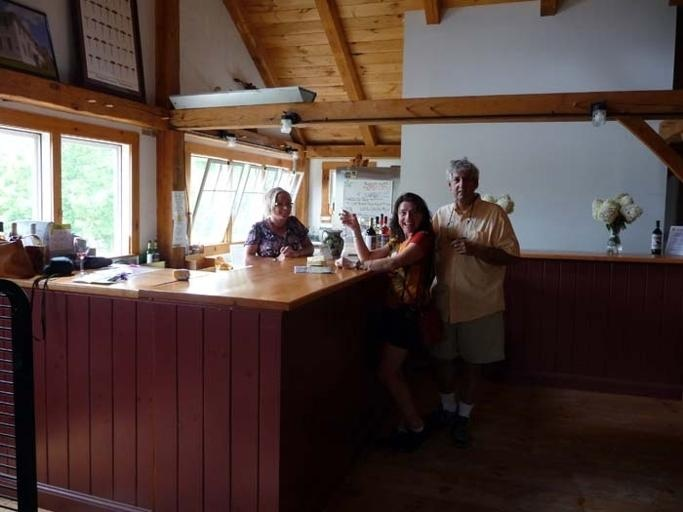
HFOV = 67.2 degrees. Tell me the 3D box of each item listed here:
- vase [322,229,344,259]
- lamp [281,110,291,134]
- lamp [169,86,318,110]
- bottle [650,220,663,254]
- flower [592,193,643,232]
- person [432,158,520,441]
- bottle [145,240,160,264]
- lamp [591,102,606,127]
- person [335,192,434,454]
[{"bbox_3d":[-0.089,-0.106,4.367,0.212,0.264,0.214,0,-5,-12],"label":"vase"},{"bbox_3d":[-0.620,-1.498,5.735,0.143,0.218,0.286,-2,13,-7],"label":"lamp"},{"bbox_3d":[-1.190,-1.842,6.033,1.832,0.212,0.311,6,14,23],"label":"lamp"},{"bbox_3d":[2.902,-0.162,4.694,0.082,0.286,0.380,7,15,31],"label":"bottle"},{"bbox_3d":[2.506,-0.416,4.683,0.383,0.302,0.342,6,8,25],"label":"flower"},{"bbox_3d":[0.946,0.324,3.754,0.616,2.026,0.450,3,12,15],"label":"person"},{"bbox_3d":[-2.394,-0.059,6.430,0.151,0.250,0.253,-5,14,-23],"label":"bottle"},{"bbox_3d":[2.451,-1.350,4.867,0.140,0.214,0.248,6,14,26],"label":"lamp"},{"bbox_3d":[0.367,0.468,3.719,0.701,1.822,0.526,-3,12,-14],"label":"person"}]
